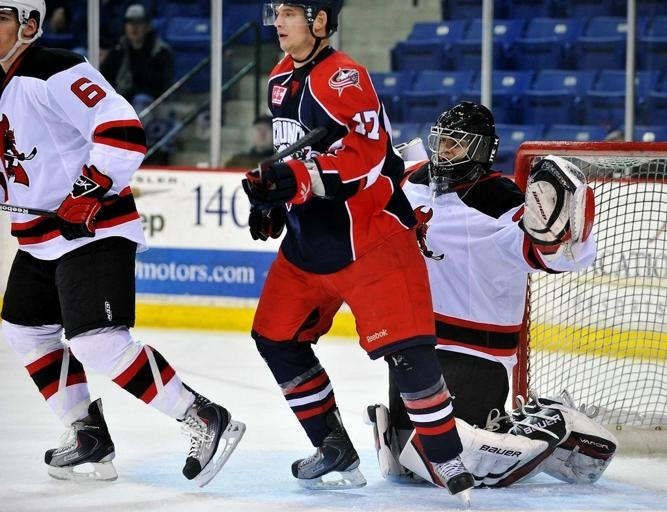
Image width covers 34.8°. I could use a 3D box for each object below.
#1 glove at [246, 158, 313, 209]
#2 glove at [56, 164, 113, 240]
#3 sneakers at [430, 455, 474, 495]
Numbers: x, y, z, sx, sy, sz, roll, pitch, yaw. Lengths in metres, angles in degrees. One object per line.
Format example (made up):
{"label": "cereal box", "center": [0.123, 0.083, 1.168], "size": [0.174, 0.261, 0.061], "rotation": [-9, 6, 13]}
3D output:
{"label": "glove", "center": [-0.172, -0.244, 3.508], "size": [0.197, 0.186, 0.141], "rotation": [-6, 15, -32]}
{"label": "glove", "center": [-0.885, -0.187, 3.867], "size": [0.171, 0.279, 0.104], "rotation": [24, 0, -1]}
{"label": "sneakers", "center": [0.423, 0.769, 3.770], "size": [0.070, 0.091, 0.218], "rotation": [-37, 3, -6]}
